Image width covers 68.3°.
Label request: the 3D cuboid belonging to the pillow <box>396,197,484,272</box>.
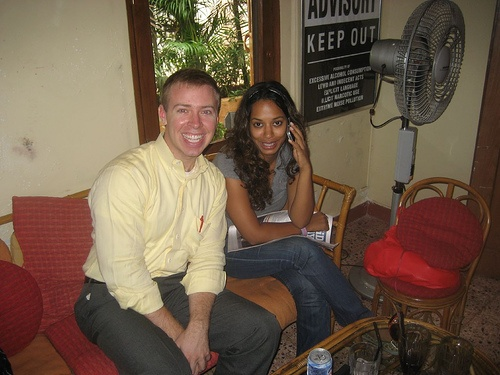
[{"bbox_3d":[1.212,0.180,2.403,0.442,0.146,0.489,13,-15,23],"label":"pillow"}]

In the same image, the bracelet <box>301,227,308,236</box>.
[{"bbox_3d":[0.325,0.261,2.209,0.037,0.047,0.009,-5,2,-2],"label":"bracelet"}]

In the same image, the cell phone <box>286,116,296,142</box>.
[{"bbox_3d":[0.240,-0.344,2.220,0.026,0.128,0.090,-2,12,11],"label":"cell phone"}]

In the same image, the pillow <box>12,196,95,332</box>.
[{"bbox_3d":[-1.007,0.365,1.914,0.519,0.605,0.165,-3,-4,-33],"label":"pillow"}]

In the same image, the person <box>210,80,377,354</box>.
[{"bbox_3d":[0.254,0.239,2.276,1.110,1.719,0.541,12,29,41],"label":"person"}]
